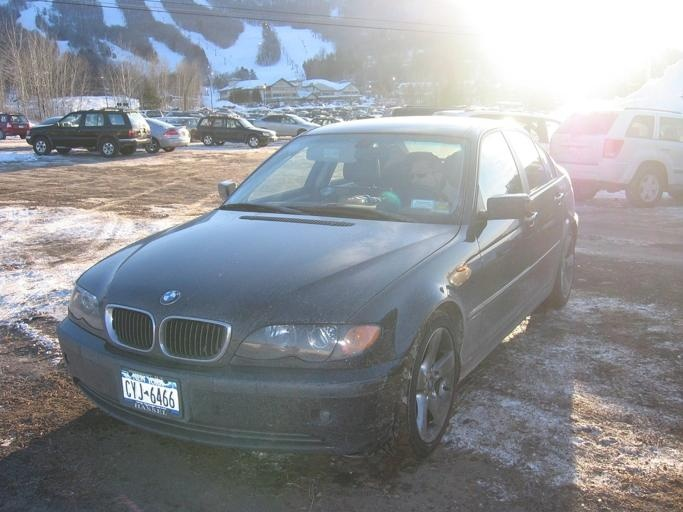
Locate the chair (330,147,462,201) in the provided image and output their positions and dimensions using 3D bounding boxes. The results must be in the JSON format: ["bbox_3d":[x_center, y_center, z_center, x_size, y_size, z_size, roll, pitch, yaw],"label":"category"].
[{"bbox_3d":[0.468,-0.652,3.649,0.675,0.457,0.294,5,6,19],"label":"chair"}]
